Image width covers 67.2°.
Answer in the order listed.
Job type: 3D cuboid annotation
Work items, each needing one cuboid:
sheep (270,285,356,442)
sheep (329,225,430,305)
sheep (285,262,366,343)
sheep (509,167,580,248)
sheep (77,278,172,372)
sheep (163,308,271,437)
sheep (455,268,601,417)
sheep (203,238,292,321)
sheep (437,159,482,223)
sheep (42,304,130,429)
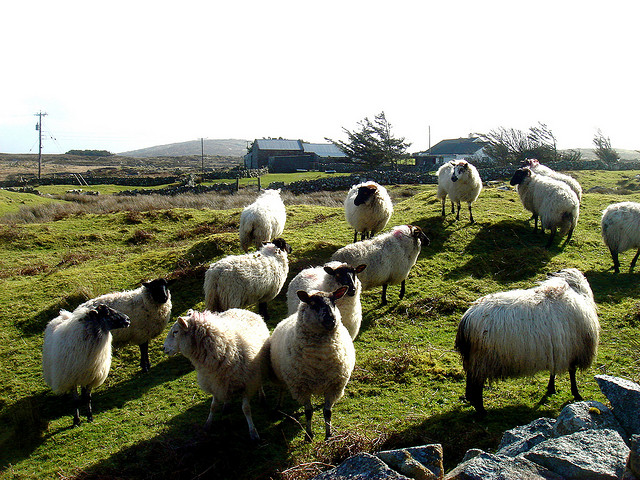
[{"bbox_3d":[-0.232,2.177,8.741,1.407,2.608,0.999,1,8,23],"label":"sheep"},{"bbox_3d":[1.729,0.810,13.508,3.612,2.239,1.191,-10,16,-30],"label":"sheep"},{"bbox_3d":[0.242,1.134,10.504,1.206,1.726,2.462,-2,2,-31],"label":"sheep"},{"bbox_3d":[8.257,-1.209,17.137,1.223,2.681,2.054,-3,7,-4],"label":"sheep"},{"bbox_3d":[-4.657,2.130,11.391,0.961,1.828,2.617,-20,-10,36],"label":"sheep"},{"bbox_3d":[-1.825,2.331,9.404,1.702,2.038,1.539,0,7,18],"label":"sheep"},{"bbox_3d":[4.335,1.954,9.674,3.684,2.349,1.740,-6,0,-17],"label":"sheep"},{"bbox_3d":[-1.813,1.104,12.720,1.402,1.959,3.012,14,16,39],"label":"sheep"},{"bbox_3d":[5.643,-2.001,19.544,1.357,2.416,2.627,-2,7,4],"label":"sheep"},{"bbox_3d":[-5.203,2.566,10.352,1.692,2.212,1.242,2,8,28],"label":"sheep"}]
